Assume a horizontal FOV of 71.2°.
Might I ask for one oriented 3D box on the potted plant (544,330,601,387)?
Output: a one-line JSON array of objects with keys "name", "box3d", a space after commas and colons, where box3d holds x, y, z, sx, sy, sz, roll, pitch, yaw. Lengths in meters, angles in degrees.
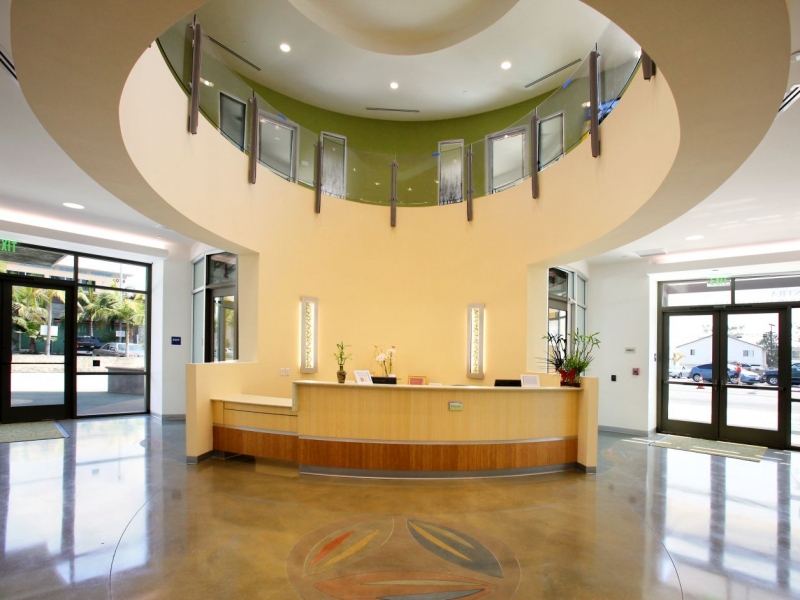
[{"name": "potted plant", "box3d": [2.760, 1.012, 9.224, 0.743, 0.897, 0.706, 2, 2, 19]}]
